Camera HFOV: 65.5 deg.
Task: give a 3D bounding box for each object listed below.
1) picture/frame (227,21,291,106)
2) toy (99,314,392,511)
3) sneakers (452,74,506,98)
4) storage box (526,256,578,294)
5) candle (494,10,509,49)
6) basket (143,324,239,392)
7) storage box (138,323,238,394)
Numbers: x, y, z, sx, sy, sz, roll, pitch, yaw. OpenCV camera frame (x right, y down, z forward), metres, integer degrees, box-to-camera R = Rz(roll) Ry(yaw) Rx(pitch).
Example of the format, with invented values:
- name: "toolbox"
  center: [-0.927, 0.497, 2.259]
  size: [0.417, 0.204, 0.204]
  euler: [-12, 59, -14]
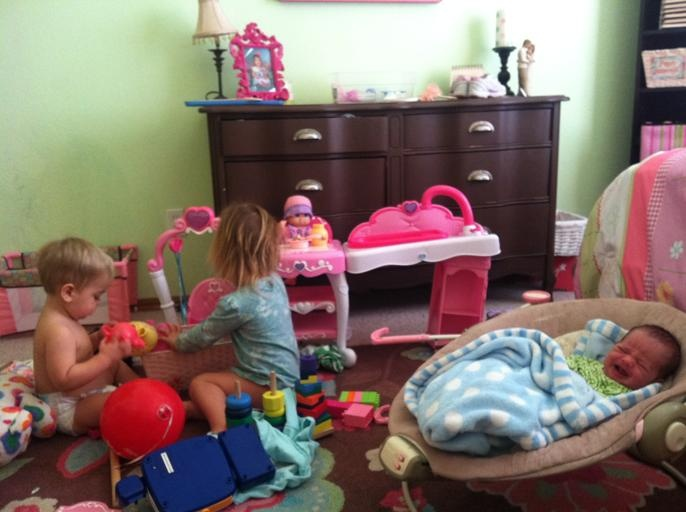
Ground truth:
- name: "picture/frame"
  center: [-0.440, -1.063, 2.941]
  size: [0.343, 0.414, 0.225]
  euler: [-9, 19, -23]
- name: "toy"
  center: [-0.489, 0.513, 1.851]
  size: [0.616, 0.455, 0.193]
  euler: [-6, -23, -22]
- name: "sneakers"
  center: [0.787, -0.969, 3.088]
  size: [0.202, 0.093, 0.172]
  euler: [-3, 10, -7]
- name: "storage box"
  center: [1.340, 0.105, 3.436]
  size: [0.239, 0.308, 0.248]
  euler: [0, 18, 9]
- name: "candle"
  center: [0.992, -1.415, 3.332]
  size: [0.086, 0.230, 0.251]
  euler: [3, 18, 15]
- name: "basket"
  center: [-0.636, 0.407, 2.216]
  size: [0.306, 0.147, 0.211]
  euler: [-5, 5, -28]
- name: "storage box"
  center: [-0.639, 0.413, 2.211]
  size: [0.310, 0.148, 0.214]
  euler: [-5, 6, -26]
